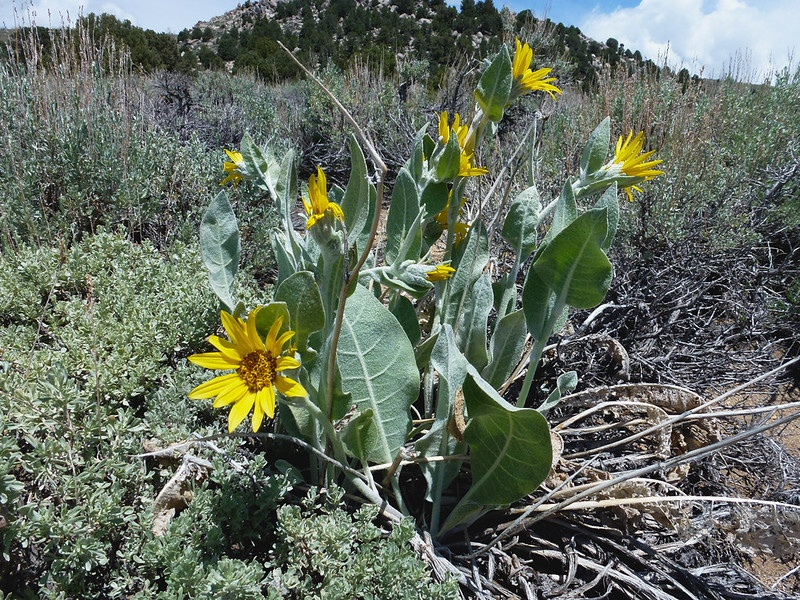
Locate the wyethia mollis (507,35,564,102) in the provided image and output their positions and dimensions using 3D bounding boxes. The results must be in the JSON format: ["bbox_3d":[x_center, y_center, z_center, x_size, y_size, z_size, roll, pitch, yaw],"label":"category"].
[{"bbox_3d":[0.563,-0.934,2.523,0.186,0.217,0.532,11,21,11],"label":"wyethia mollis"}]

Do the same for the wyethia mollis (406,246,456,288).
[{"bbox_3d":[0.123,-0.127,2.406,0.167,0.072,0.168,36,34,18],"label":"wyethia mollis"}]

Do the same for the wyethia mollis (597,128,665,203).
[{"bbox_3d":[0.953,-0.482,2.461,0.132,0.338,0.326,-18,20,14],"label":"wyethia mollis"}]

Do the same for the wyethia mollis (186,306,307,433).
[{"bbox_3d":[-0.501,0.230,2.022,0.360,0.173,0.431,4,51,2],"label":"wyethia mollis"}]
